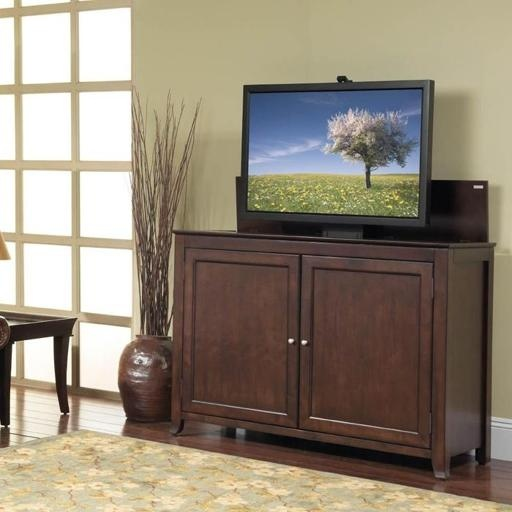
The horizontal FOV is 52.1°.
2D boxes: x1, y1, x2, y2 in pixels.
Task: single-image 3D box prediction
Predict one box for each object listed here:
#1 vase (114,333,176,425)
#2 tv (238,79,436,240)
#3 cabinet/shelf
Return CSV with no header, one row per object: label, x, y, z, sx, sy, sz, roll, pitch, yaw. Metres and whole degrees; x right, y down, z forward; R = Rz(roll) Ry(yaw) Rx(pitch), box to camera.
vase,-0.644,0.715,3.160,0.422,0.519,0.416,2,-1,4
tv,0.397,-0.463,2.468,0.793,0.687,0.260,2,2,20
cabinet/shelf,0.288,0.409,2.585,1.451,1.011,0.520,0,-2,34
